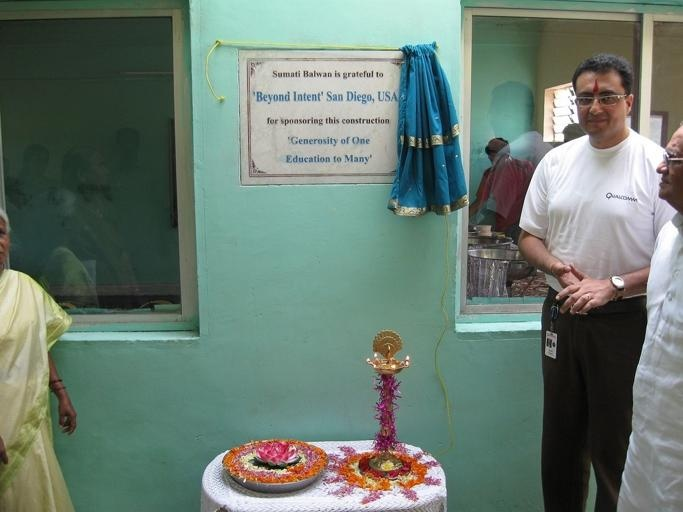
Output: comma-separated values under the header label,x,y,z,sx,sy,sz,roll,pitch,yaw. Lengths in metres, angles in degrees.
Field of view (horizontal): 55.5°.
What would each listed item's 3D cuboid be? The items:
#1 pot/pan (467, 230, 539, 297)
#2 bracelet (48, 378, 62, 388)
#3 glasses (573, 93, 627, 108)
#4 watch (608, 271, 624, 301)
label,x,y,z,sx,sy,sz,roll,pitch,yaw
pot/pan,0.892,0.062,3.641,0.333,0.295,0.366,0,4,-9
bracelet,-1.397,0.626,3.180,0.040,0.035,0.041,1,-2,-33
glasses,1.170,-0.697,2.920,0.206,0.055,0.085,2,13,23
watch,1.211,0.130,2.835,0.049,0.095,0.091,3,-29,6
